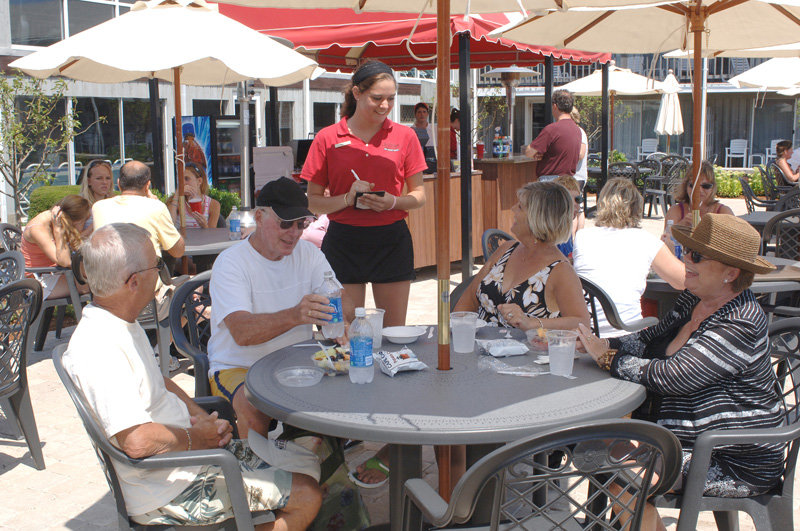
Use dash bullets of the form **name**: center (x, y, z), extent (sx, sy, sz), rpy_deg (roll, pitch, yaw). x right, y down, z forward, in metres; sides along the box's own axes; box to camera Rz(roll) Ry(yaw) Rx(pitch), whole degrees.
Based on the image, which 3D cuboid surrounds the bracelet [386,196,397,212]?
- **bracelet**: center (-0.058, -0.449, 5.365), extent (0.035, 0.090, 0.076), rpy_deg (5, 7, -19)

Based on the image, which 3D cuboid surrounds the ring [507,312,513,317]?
- **ring**: center (0.666, 0.292, 4.427), extent (0.032, 0.018, 0.006), rpy_deg (1, 12, 10)

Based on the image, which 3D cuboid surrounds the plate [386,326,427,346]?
- **plate**: center (0.036, 0.391, 4.329), extent (0.253, 0.067, 0.261), rpy_deg (-1, 12, 1)

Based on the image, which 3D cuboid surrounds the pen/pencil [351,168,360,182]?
- **pen/pencil**: center (-0.316, -0.665, 5.394), extent (0.016, 0.108, 0.014), rpy_deg (-27, 7, 7)

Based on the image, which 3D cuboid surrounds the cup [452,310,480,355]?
- **cup**: center (0.365, 0.369, 4.139), extent (0.140, 0.200, 0.191), rpy_deg (-1, 12, 2)

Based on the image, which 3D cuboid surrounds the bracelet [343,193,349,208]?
- **bracelet**: center (-0.380, -0.469, 5.323), extent (0.028, 0.073, 0.059), rpy_deg (6, 7, 6)

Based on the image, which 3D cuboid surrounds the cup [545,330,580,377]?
- **cup**: center (0.830, 0.450, 3.791), extent (0.195, 0.238, 0.204), rpy_deg (-1, 4, 0)

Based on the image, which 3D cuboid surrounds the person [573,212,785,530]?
- **person**: center (1.533, 0.378, 3.845), extent (0.892, 1.252, 0.704), rpy_deg (5, 13, 27)

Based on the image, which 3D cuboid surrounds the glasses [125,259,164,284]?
- **glasses**: center (-1.260, 0.027, 3.651), extent (0.134, 0.045, 0.133), rpy_deg (-25, 14, -12)

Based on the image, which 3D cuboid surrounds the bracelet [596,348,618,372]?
- **bracelet**: center (1.087, 0.497, 3.879), extent (0.085, 0.064, 0.110), rpy_deg (-32, 20, 48)

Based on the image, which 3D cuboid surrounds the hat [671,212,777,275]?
- **hat**: center (1.664, -0.126, 3.806), extent (0.408, 0.167, 0.371), rpy_deg (22, 17, 25)

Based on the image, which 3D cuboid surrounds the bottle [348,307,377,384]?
- **bottle**: center (-0.189, 0.408, 3.736), extent (0.113, 0.369, 0.120), rpy_deg (-1, 11, 0)
